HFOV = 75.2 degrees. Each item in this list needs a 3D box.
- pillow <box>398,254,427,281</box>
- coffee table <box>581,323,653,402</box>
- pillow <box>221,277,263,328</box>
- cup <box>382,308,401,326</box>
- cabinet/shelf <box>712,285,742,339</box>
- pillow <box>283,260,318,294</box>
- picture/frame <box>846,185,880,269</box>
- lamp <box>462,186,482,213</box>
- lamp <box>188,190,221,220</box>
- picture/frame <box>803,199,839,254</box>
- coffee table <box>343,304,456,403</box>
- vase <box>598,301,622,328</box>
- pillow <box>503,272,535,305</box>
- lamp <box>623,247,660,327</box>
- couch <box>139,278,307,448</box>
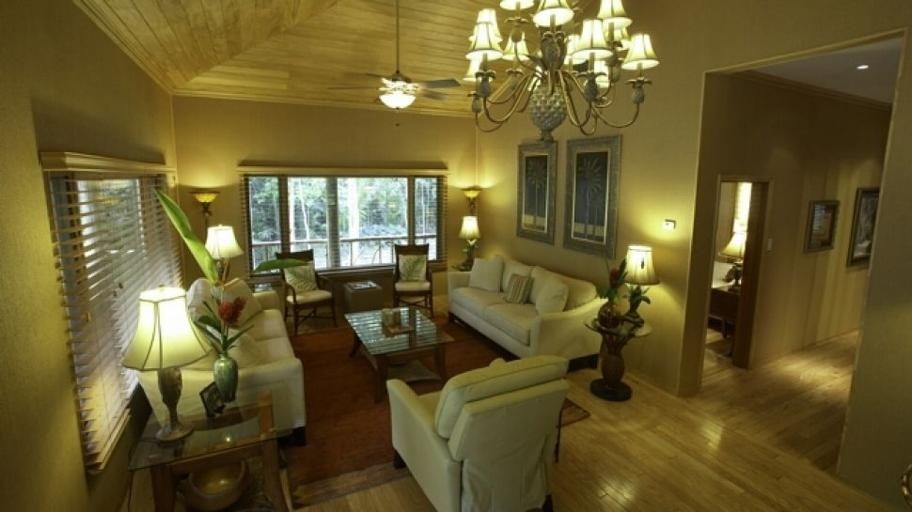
[{"bbox_3d":[-0.750,0.206,10.009,0.464,0.392,0.157,1,1,-5],"label":"pillow"},{"bbox_3d":[2.036,1.386,7.919,0.987,0.926,0.938,1,0,-7],"label":"coffee table"},{"bbox_3d":[-2.852,0.563,7.892,0.223,0.701,0.718,-9,24,7],"label":"pillow"},{"bbox_3d":[-0.898,0.836,8.152,0.195,0.222,0.334,-2,-1,-11],"label":"cup"},{"bbox_3d":[4.024,0.853,8.878,0.384,0.801,0.618,0,11,23],"label":"cabinet/shelf"},{"bbox_3d":[-2.369,0.330,8.910,0.506,0.452,0.184,-8,-8,-41],"label":"pillow"},{"bbox_3d":[5.759,-0.448,8.387,1.181,1.238,0.096,-13,17,-39],"label":"picture/frame"},{"bbox_3d":[0.284,-1.025,10.796,0.491,0.494,0.461,-1,0,-5],"label":"lamp"},{"bbox_3d":[-3.860,-0.793,9.119,0.461,0.477,0.435,-1,11,-4],"label":"lamp"},{"bbox_3d":[5.153,-0.443,8.363,0.660,0.629,0.066,-24,21,-28],"label":"picture/frame"},{"bbox_3d":[-0.774,1.070,7.784,1.150,0.605,1.620,-1,7,-22],"label":"coffee table"},{"bbox_3d":[1.955,0.752,7.541,0.324,0.421,0.316,2,-1,27],"label":"vase"},{"bbox_3d":[0.961,0.487,8.842,0.139,0.412,0.453,24,-9,-36],"label":"pillow"},{"bbox_3d":[2.411,0.345,7.680,0.411,0.971,0.522,-2,11,17],"label":"lamp"},{"bbox_3d":[-2.577,1.208,6.402,0.865,0.761,1.806,-6,18,-21],"label":"couch"}]
